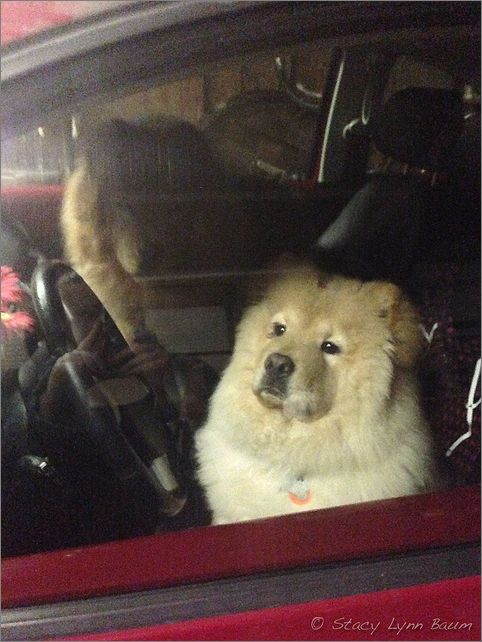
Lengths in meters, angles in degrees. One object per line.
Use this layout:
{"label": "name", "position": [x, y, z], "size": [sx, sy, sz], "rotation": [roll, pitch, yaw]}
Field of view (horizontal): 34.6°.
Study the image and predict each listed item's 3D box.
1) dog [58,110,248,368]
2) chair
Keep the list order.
{"label": "dog", "position": [-0.213, -0.222, 1.867], "size": [0.472, 0.519, 0.192], "rotation": [2, 11, -6]}
{"label": "chair", "position": [0.386, -0.303, 1.977], "size": [0.263, 0.572, 0.181], "rotation": [27, 27, -2]}
